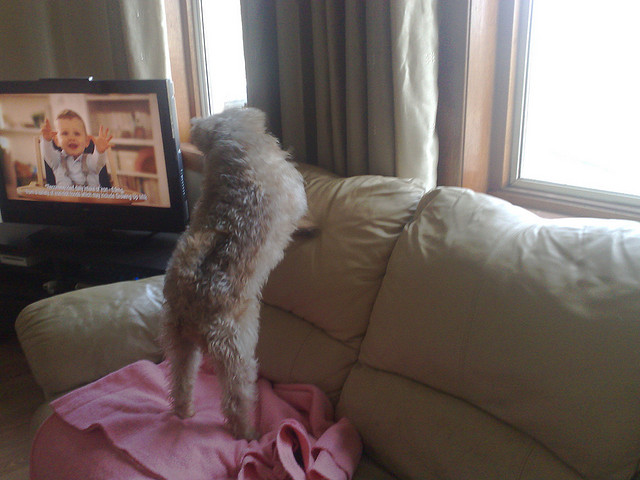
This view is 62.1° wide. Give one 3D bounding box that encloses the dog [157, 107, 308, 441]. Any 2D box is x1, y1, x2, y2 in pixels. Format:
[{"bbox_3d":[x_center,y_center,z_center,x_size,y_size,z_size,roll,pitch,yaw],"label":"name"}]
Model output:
[{"bbox_3d":[-0.233,0.103,1.404,0.282,0.862,0.328,13,22,33],"label":"dog"}]
